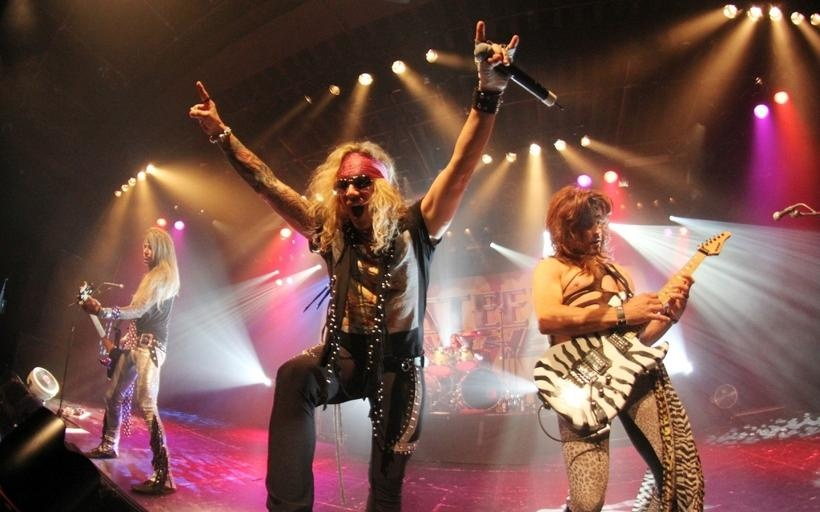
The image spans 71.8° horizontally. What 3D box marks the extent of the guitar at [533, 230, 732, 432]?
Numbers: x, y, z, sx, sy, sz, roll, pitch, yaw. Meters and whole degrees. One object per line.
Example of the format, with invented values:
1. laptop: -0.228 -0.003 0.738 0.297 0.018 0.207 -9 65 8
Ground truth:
1. guitar: 2.999 1.137 7.720 0.992 2.729 0.331 42 -1 27

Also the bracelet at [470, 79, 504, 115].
1. bracelet: 0.934 -1.992 7.154 0.387 0.302 0.332 5 14 -7

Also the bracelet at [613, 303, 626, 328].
1. bracelet: 2.864 0.819 7.744 0.184 0.287 0.072 10 -7 5

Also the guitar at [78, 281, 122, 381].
1. guitar: -7.097 1.776 12.848 1.043 0.527 2.857 44 -38 4

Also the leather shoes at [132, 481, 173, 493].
1. leather shoes: -4.124 3.741 9.080 0.626 0.188 0.225 19 -19 -24

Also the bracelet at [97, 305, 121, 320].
1. bracelet: -5.331 1.010 10.114 0.371 0.164 0.311 -2 -56 -5

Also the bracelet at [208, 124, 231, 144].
1. bracelet: -2.442 -1.598 7.477 0.327 0.325 0.097 19 -38 34

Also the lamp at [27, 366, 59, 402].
1. lamp: -6.566 2.383 10.197 0.653 0.259 0.666 30 -35 47

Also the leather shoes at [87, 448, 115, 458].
1. leather shoes: -5.306 3.423 9.754 0.434 0.171 0.147 22 -23 -23
